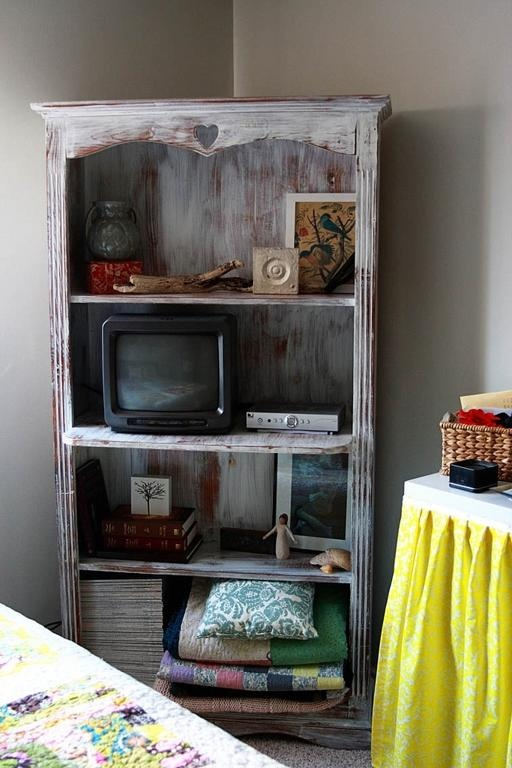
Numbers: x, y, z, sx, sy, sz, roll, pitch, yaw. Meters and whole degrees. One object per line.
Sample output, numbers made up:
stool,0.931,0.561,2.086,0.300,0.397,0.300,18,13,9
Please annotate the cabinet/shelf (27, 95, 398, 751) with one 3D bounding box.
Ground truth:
cabinet/shelf,-0.099,0.145,2.082,1.072,1.867,0.483,3,10,12

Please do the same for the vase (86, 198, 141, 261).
vase,-0.428,-0.465,2.090,0.169,0.159,0.159,-8,18,-32

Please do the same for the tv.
tv,-0.244,-0.023,2.087,0.385,0.339,0.271,-1,1,3

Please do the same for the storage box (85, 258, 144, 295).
storage box,-0.410,-0.306,2.017,0.150,0.109,0.100,3,2,-11
